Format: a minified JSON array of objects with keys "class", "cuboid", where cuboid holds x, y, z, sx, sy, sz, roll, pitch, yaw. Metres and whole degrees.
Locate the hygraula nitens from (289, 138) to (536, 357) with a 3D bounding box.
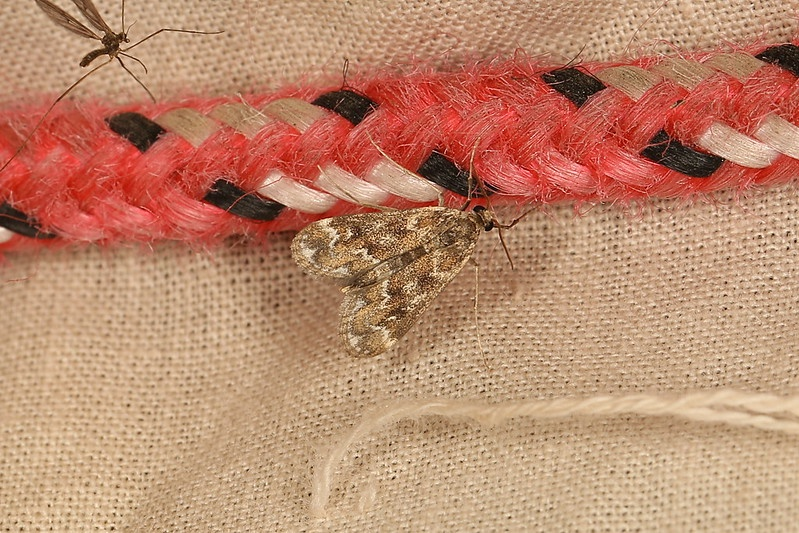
[{"class":"hygraula nitens","cuboid":[0.014,-0.018,1.725,0.371,0.099,0.266,-31,98,2]}]
